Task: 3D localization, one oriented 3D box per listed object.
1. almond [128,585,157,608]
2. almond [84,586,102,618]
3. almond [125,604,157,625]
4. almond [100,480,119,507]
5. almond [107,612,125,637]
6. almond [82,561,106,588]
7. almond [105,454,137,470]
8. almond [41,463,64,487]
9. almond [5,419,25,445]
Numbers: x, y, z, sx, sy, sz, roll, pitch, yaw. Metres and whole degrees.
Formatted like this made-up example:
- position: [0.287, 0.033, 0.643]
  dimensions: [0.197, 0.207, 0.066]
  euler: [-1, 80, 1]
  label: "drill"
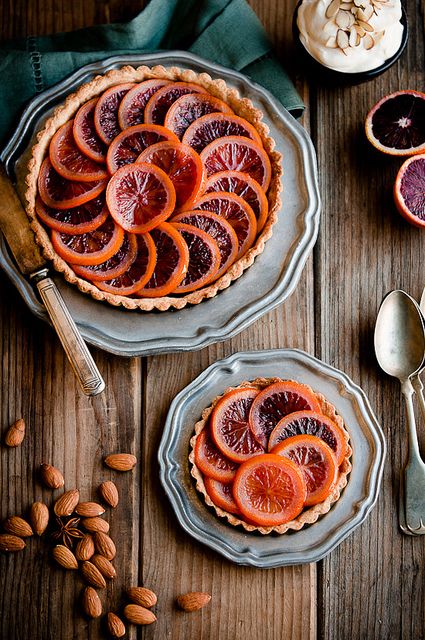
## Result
- position: [-0.291, 1.131, 3.205]
  dimensions: [0.110, 0.040, 0.069]
  euler: [24, 72, 13]
  label: "almond"
- position: [-0.500, 1.162, 3.207]
  dimensions: [0.038, 0.075, 0.113]
  euler: [-37, 77, 6]
  label: "almond"
- position: [-0.296, 1.204, 3.199]
  dimensions: [0.121, 0.040, 0.068]
  euler: [17, 49, 4]
  label: "almond"
- position: [-0.431, 0.720, 3.258]
  dimensions: [0.038, 0.071, 0.102]
  euler: [-31, 86, -29]
  label: "almond"
- position: [-0.407, 1.240, 3.215]
  dimensions: [0.030, 0.065, 0.093]
  euler: [-46, 59, 27]
  label: "almond"
- position: [-0.497, 1.050, 3.222]
  dimensions: [0.122, 0.045, 0.067]
  euler: [45, 109, 17]
  label: "almond"
- position: [-0.394, 0.599, 3.298]
  dimensions: [0.137, 0.055, 0.074]
  euler: [1, 67, 3]
  label: "almond"
- position: [-0.695, 0.644, 3.298]
  dimensions: [0.035, 0.074, 0.107]
  euler: [-46, 70, 21]
  label: "almond"
- position: [-0.838, 0.478, 3.343]
  dimensions: [0.070, 0.047, 0.111]
  euler: [16, 83, 31]
  label: "almond"
